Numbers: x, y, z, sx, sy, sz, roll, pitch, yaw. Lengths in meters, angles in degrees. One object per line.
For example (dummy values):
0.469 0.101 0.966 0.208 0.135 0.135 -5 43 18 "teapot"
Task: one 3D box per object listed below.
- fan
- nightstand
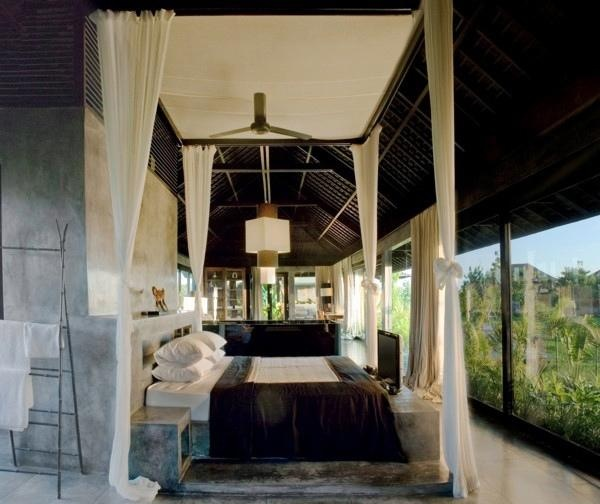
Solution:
-0.364 -1.403 4.745 0.923 0.448 0.442 -1 7 -13 "fan"
-1.146 1.431 3.888 0.359 0.559 0.721 -1 -6 0 "nightstand"
